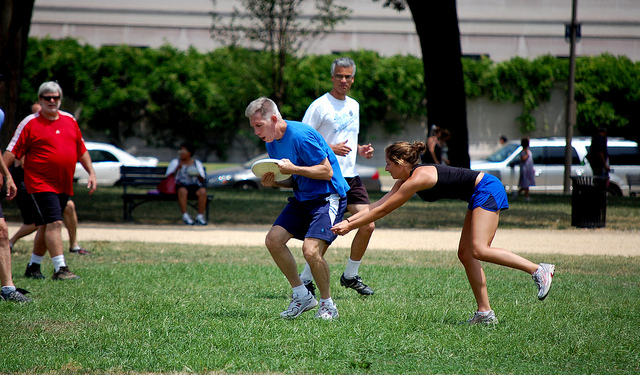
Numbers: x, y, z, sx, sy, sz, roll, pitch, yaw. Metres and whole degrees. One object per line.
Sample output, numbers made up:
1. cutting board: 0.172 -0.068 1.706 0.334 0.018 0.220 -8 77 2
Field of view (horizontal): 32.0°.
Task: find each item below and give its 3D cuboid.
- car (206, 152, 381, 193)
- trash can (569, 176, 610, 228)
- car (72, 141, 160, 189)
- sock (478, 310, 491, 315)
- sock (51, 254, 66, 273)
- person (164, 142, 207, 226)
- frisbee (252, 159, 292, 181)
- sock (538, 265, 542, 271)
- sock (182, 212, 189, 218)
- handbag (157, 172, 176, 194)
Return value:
1. car: -1.078 -0.331 40.501 5.048 1.695 2.354 2 -3 -5
2. trash can: 7.869 0.479 32.817 1.392 1.703 1.364 0 -1 2
3. car: -7.001 -0.809 39.897 3.415 1.177 1.482 1 -1 -1
4. sock: 3.807 2.945 25.864 0.230 0.076 0.023 1 3 8
5. sock: -6.444 1.924 27.593 0.372 0.543 0.373 -1 3 17
6. person: -3.948 -0.082 33.524 1.140 2.473 0.500 0 3 -9
7. frisbee: -1.180 -0.409 25.859 0.576 0.120 0.577 15 -31 -15
8. sock: 5.063 1.877 25.614 0.087 0.099 0.026 2 3 13
9. sock: -4.064 0.855 33.663 0.150 0.158 0.278 1 3 -8
10. handbag: -4.577 -0.088 33.451 0.523 0.623 0.380 8 6 9
